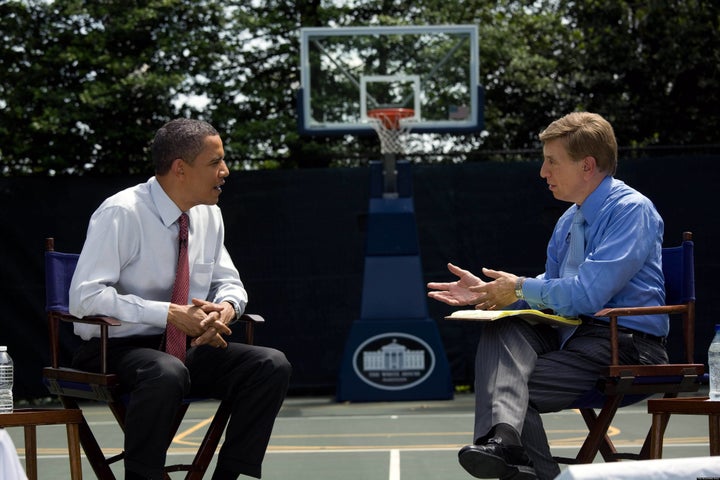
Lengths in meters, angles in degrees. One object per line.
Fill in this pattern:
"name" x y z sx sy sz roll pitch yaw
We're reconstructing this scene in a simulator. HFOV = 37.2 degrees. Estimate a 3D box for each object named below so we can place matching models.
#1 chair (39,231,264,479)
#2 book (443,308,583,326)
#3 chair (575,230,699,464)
"chair" -1.801 0.946 8.332 1.491 1.884 0.808 -1 10 5
"book" 1.188 0.595 8.109 0.984 0.157 0.330 -1 8 5
"chair" 2.114 0.877 8.209 1.098 1.785 0.690 -3 10 -2
